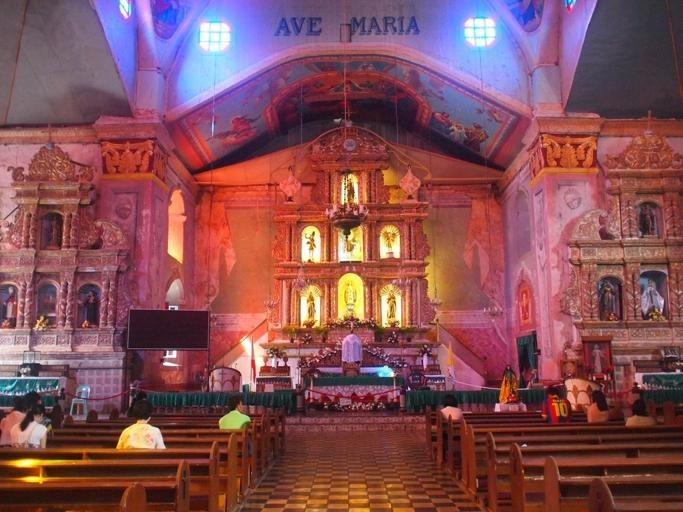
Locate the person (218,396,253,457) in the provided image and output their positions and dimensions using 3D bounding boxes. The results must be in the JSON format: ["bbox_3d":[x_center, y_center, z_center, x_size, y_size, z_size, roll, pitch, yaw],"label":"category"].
[{"bbox_3d":[-1.852,2.974,12.695,0.527,0.881,0.439,-13,16,-32],"label":"person"}]

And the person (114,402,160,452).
[{"bbox_3d":[-2.942,2.494,10.653,0.478,0.397,0.931,21,-8,-20],"label":"person"}]

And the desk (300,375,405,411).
[{"bbox_3d":[0.376,3.921,20.220,2.763,0.921,0.778,0,-2,6],"label":"desk"}]
